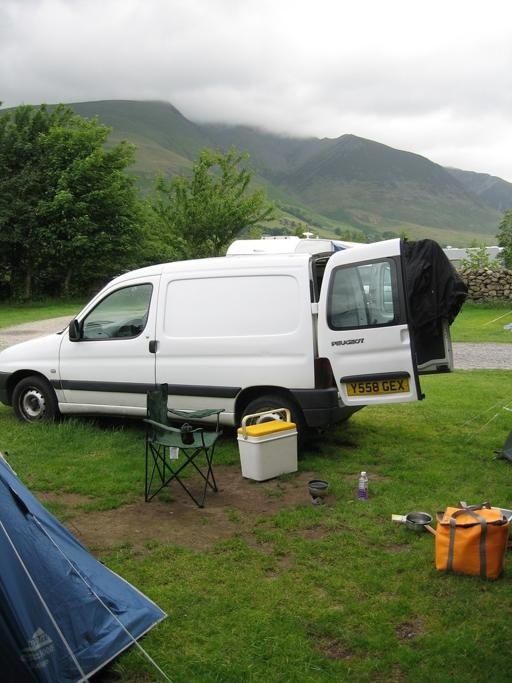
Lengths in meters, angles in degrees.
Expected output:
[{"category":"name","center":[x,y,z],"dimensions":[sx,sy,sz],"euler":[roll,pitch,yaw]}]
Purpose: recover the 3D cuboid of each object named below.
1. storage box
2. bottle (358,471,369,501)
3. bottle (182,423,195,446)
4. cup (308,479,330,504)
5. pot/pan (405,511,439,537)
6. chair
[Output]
[{"category":"storage box","center":[0.116,1.047,6.317],"dimensions":[0.595,0.615,0.419],"euler":[-7,5,-43]},{"category":"bottle","center":[0.968,1.292,5.562],"dimensions":[0.088,0.255,0.211],"euler":[-1,7,12]},{"category":"bottle","center":[-0.626,0.843,5.576],"dimensions":[0.111,0.200,0.265],"euler":[-4,6,-8]},{"category":"cup","center":[0.545,1.353,5.518],"dimensions":[0.176,0.128,0.197],"euler":[-1,2,30]},{"category":"pot/pan","center":[1.313,1.439,4.852],"dimensions":[0.147,0.077,0.224],"euler":[0,-3,-41]},{"category":"chair","center":[-0.669,0.954,5.972],"dimensions":[0.744,0.968,0.898],"euler":[4,7,18]}]
